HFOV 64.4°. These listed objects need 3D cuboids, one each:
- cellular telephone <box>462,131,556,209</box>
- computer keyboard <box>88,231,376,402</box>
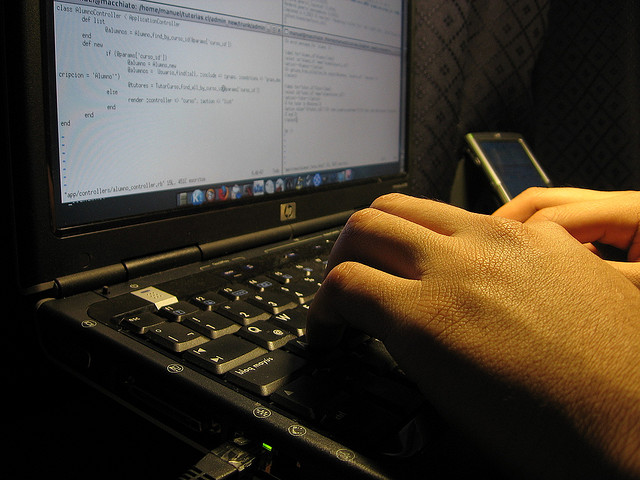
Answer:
[{"bbox_3d":[0.386,-0.123,1.001,0.118,0.022,0.214,-11,61,-15],"label":"cellular telephone"},{"bbox_3d":[-0.084,0.086,0.607,0.199,0.025,0.388,22,9,15],"label":"computer keyboard"}]
